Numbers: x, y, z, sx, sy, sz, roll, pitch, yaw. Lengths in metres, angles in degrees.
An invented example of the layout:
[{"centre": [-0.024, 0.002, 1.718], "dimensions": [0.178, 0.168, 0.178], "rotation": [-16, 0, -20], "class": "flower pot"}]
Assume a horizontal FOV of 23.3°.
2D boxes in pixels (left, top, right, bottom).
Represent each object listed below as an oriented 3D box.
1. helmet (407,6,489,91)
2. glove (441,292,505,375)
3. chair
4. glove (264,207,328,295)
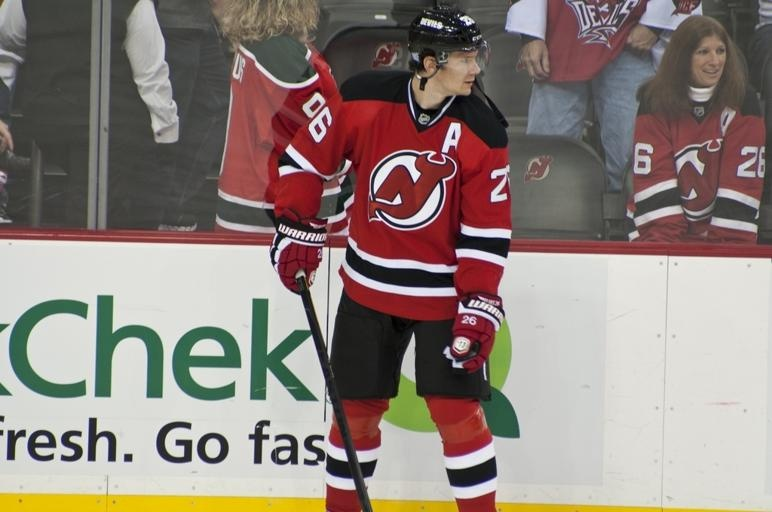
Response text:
[{"centre": [0.270, -1.024, 9.135], "dimensions": [0.410, 0.396, 0.338], "rotation": [-1, 11, 11], "class": "helmet"}, {"centre": [0.415, 0.387, 8.934], "dimensions": [0.245, 0.387, 0.144], "rotation": [22, -7, 0], "class": "glove"}, {"centre": [0.362, -0.648, 9.981], "dimensions": [1.389, 1.332, 1.134], "rotation": [-6, 16, -8], "class": "chair"}, {"centre": [-0.413, 0.019, 9.106], "dimensions": [0.289, 0.405, 0.234], "rotation": [7, -1, -10], "class": "glove"}]
